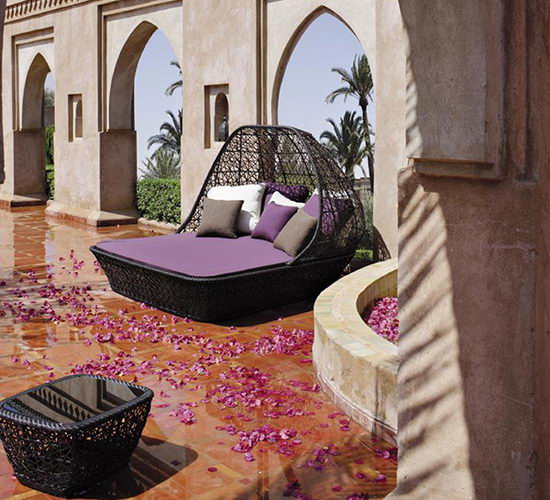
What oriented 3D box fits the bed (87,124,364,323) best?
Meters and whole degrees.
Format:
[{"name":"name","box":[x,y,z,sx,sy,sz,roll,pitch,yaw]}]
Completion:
[{"name":"bed","box":[-0.244,-0.166,6.181,2.359,2.458,3.012,-10,15,-43]}]
